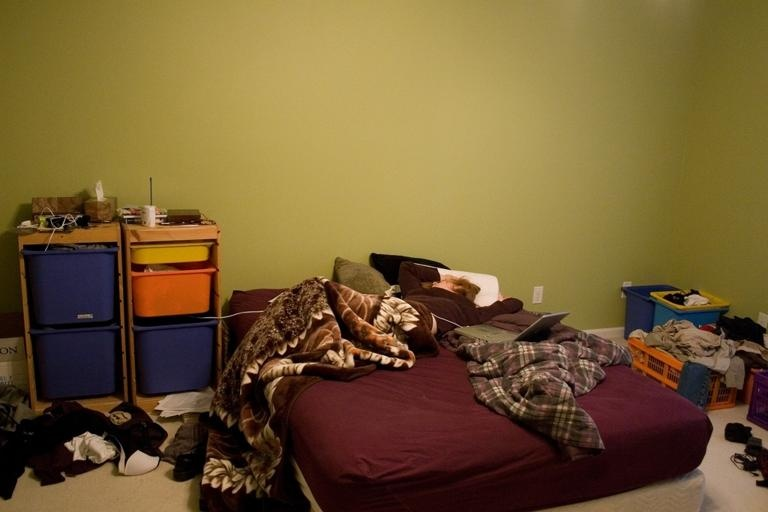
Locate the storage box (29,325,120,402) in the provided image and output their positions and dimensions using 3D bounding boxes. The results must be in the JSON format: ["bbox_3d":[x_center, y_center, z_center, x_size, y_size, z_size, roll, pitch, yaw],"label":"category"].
[{"bbox_3d":[-1.892,0.677,3.305,0.544,0.373,0.427,-1,2,-24],"label":"storage box"}]

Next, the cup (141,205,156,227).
[{"bbox_3d":[-1.498,-0.251,3.309,0.092,0.133,0.161,-3,5,-26],"label":"cup"}]

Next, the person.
[{"bbox_3d":[0.456,0.371,3.557,0.751,0.243,1.111,16,26,37],"label":"person"}]

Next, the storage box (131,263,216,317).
[{"bbox_3d":[-1.335,0.207,3.283,0.424,0.209,0.317,-2,5,-29],"label":"storage box"}]

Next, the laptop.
[{"bbox_3d":[0.730,0.459,3.142,0.300,0.131,0.403,-5,11,-41],"label":"laptop"}]

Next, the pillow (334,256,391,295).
[{"bbox_3d":[-0.159,0.142,3.922,0.473,0.127,0.460,11,19,-31],"label":"pillow"}]

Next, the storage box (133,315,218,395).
[{"bbox_3d":[-1.496,0.706,3.518,0.481,0.411,0.595,-18,-14,34],"label":"storage box"}]

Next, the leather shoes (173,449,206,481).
[{"bbox_3d":[-1.082,1.178,2.908,0.089,0.081,0.235,2,5,6],"label":"leather shoes"}]
